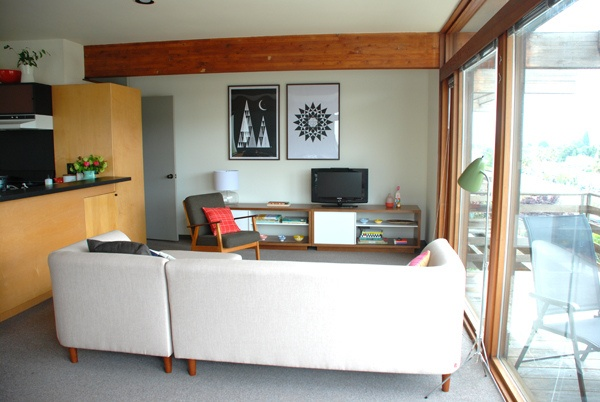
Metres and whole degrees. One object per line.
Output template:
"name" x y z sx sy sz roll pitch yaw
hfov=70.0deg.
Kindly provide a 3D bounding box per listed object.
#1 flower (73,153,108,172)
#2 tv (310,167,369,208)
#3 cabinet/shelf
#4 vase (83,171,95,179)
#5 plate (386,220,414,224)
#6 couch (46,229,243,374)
"flower" -2.799 -0.493 5.637 0.295 0.177 0.290 4 9 20
"tv" 0.622 -0.209 6.682 0.667 0.430 0.190 1 8 5
"cabinet/shelf" 0.462 0.405 6.749 2.852 0.618 0.482 0 12 24
"vase" -2.752 -0.341 5.552 0.109 0.098 0.111 7 6 44
"plate" 1.530 0.312 6.600 0.409 0.028 0.359 0 9 4
"couch" -1.439 0.773 4.044 1.516 1.036 1.071 2 7 16
